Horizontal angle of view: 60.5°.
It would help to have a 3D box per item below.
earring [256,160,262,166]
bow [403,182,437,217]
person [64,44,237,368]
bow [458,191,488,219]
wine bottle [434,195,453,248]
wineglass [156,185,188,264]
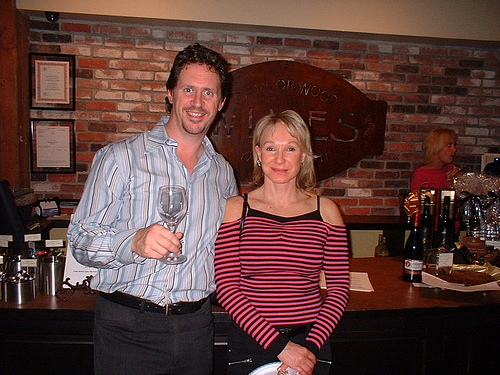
[{"bbox_3d":[0.047,-0.135,2.276,0.037,0.035,0.095,1,7,-3],"label":"earring"},{"bbox_3d":[1.129,0.067,2.790,0.252,0.185,0.171,11,7,20],"label":"bow"},{"bbox_3d":[-0.435,0.126,2.117,0.547,1.668,0.622,2,1,22],"label":"person"},{"bbox_3d":[1.536,0.117,2.937,0.244,0.192,0.094,1,14,18],"label":"bow"},{"bbox_3d":[1.349,0.237,2.974,0.118,0.366,0.134,2,1,21],"label":"wine bottle"},{"bbox_3d":[-0.347,0.166,1.910,0.136,0.356,0.243,1,1,-10],"label":"wineglass"}]
